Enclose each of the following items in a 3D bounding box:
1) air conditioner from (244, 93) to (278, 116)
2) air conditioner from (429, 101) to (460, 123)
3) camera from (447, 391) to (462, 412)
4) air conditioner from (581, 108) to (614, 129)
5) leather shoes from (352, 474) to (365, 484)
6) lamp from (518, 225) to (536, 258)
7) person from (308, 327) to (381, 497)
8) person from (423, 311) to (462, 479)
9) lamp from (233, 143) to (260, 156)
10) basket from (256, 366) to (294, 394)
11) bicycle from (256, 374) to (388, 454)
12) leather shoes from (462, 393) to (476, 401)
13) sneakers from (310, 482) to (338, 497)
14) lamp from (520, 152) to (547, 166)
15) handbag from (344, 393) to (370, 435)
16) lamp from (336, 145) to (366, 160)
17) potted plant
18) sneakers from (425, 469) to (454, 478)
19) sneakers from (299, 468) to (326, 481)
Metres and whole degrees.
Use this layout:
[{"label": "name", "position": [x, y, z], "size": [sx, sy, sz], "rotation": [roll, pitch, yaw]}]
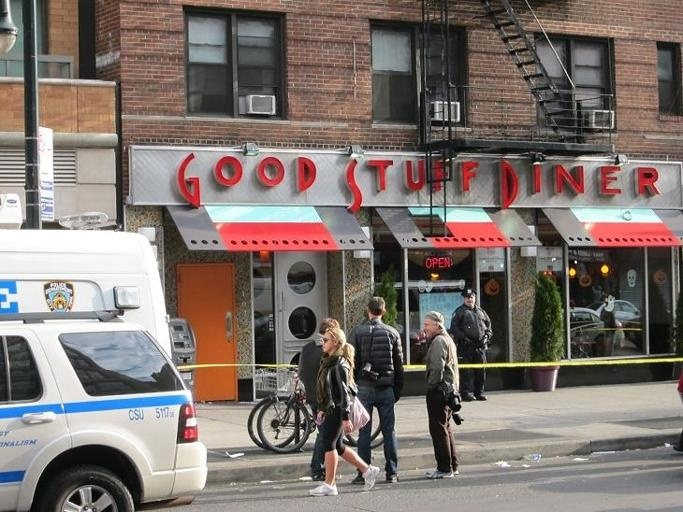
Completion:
[{"label": "air conditioner", "position": [-1.572, -2.774, 22.532], "size": [0.582, 0.420, 0.373], "rotation": [1, -4, -19]}, {"label": "air conditioner", "position": [1.984, -2.865, 23.389], "size": [0.552, 0.378, 0.311], "rotation": [-1, 1, -32]}, {"label": "camera", "position": [1.591, 2.059, 16.872], "size": [0.147, 0.317, 0.281], "rotation": [0, 0, 25]}, {"label": "air conditioner", "position": [5.302, -2.816, 24.403], "size": [0.586, 0.396, 0.400], "rotation": [-1, 0, -9]}, {"label": "leather shoes", "position": [0.225, 3.128, 16.644], "size": [0.184, 0.183, 0.087], "rotation": [2, -7, 2]}, {"label": "lamp", "position": [3.792, -0.321, 24.209], "size": [0.335, 0.632, 0.631], "rotation": [0, 0, 10]}, {"label": "person", "position": [-0.030, 2.066, 16.100], "size": [0.826, 2.311, 0.517], "rotation": [0, 1, -1]}, {"label": "person", "position": [1.430, 1.969, 16.958], "size": [0.478, 2.342, 0.424], "rotation": [0, 1, 4]}, {"label": "lamp", "position": [-1.768, -1.995, 22.197], "size": [0.284, 0.180, 0.286], "rotation": [4, -8, -22]}, {"label": "basket", "position": [-1.048, 1.978, 18.888], "size": [0.711, 0.456, 0.721], "rotation": [0, -3, 18]}, {"label": "bicycle", "position": [-0.525, 2.409, 18.341], "size": [1.929, 1.218, 1.012], "rotation": [1, 0, -15]}, {"label": "leather shoes", "position": [2.413, 2.665, 22.553], "size": [0.278, 0.156, 0.183], "rotation": [0, 0, 6]}, {"label": "sneakers", "position": [-0.244, 3.156, 16.052], "size": [0.360, 0.168, 0.155], "rotation": [2, -4, -4]}, {"label": "lamp", "position": [3.879, -1.986, 24.123], "size": [0.403, 0.265, 0.339], "rotation": [0, 0, 28]}, {"label": "handbag", "position": [0.221, 2.130, 16.138], "size": [0.256, 0.493, 0.639], "rotation": [0, 0, 15]}, {"label": "lamp", "position": [0.190, -2.017, 22.960], "size": [0.327, 0.179, 0.329], "rotation": [0, 6, -24]}, {"label": "potted plant", "position": [4.070, 1.511, 23.670], "size": [0.650, 2.369, 0.530], "rotation": [0, 1, 9]}, {"label": "sneakers", "position": [1.375, 3.111, 16.912], "size": [0.376, 0.178, 0.141], "rotation": [3, -6, 2]}, {"label": "sneakers", "position": [-0.380, 3.099, 16.778], "size": [0.447, 0.198, 0.152], "rotation": [4, -6, 3]}]
